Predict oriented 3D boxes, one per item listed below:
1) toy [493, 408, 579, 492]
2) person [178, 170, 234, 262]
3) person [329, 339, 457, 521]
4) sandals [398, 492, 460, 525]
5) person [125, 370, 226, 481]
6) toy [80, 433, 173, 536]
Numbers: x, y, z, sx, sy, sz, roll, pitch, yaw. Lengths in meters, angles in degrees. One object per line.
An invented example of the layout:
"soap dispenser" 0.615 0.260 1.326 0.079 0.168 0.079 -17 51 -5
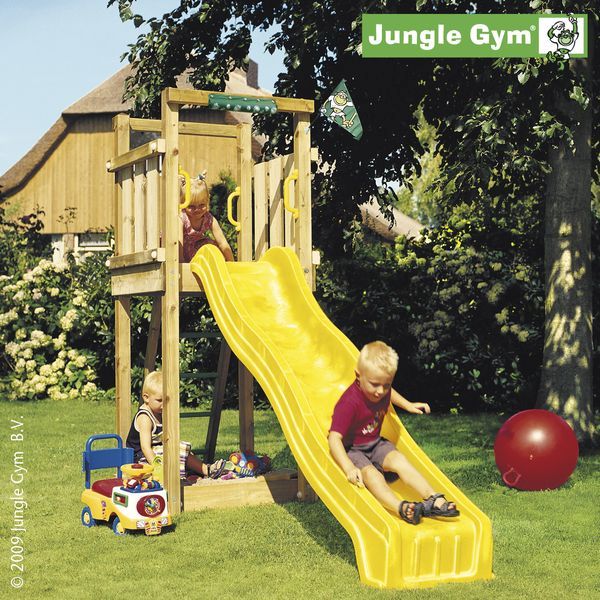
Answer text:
"toy" 2.376 1.473 12.172 0.674 0.826 0.817 4 11 28
"person" -1.040 -0.849 12.966 0.417 1.286 0.457 -4 8 -29
"person" 0.754 1.077 10.065 0.817 1.195 1.611 -4 26 -16
"sandals" 1.023 1.675 9.706 0.475 0.249 0.222 -6 14 -7
"person" -1.214 1.198 11.664 0.818 1.119 0.461 8 29 7
"toy" -1.600 1.650 11.020 0.805 0.793 1.026 0 4 -14
